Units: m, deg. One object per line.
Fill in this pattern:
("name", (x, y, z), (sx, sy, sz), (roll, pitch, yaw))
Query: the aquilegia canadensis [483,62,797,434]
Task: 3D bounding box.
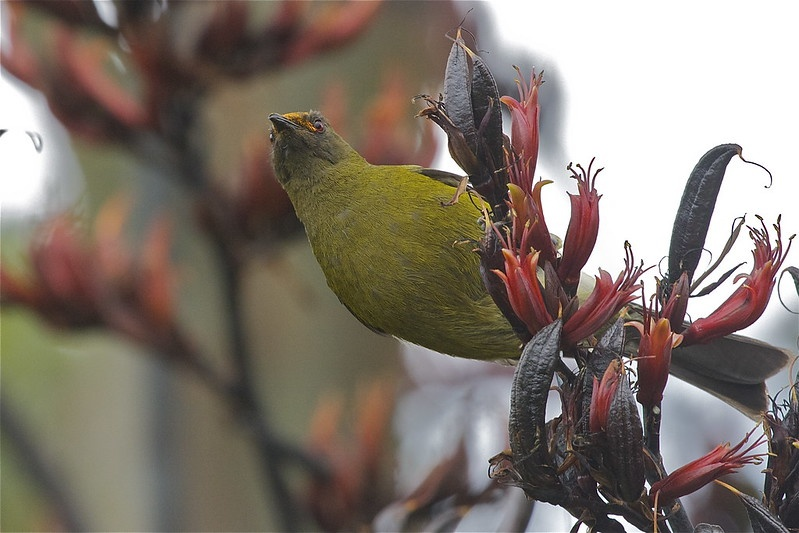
("aquilegia canadensis", (0.645, -0.029, 2.809), (0.856, 0.923, 0.301), (4, 6, 2))
